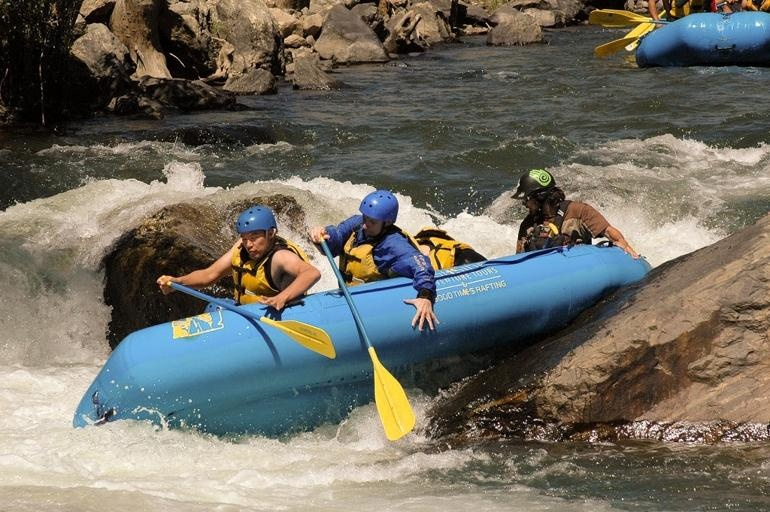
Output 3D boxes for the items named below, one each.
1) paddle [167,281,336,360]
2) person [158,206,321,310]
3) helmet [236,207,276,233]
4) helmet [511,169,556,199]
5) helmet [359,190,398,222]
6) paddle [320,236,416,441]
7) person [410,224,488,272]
[{"bbox_3d":[-1.585,0.813,13.523,3.020,0.131,0.348,14,58,7],"label":"paddle"},{"bbox_3d":[-2.014,0.055,14.466,1.348,1.299,0.937,12,27,38],"label":"person"},{"bbox_3d":[-1.600,-0.448,13.654,0.453,0.203,0.339,5,-12,-42],"label":"helmet"},{"bbox_3d":[2.035,-0.996,14.980,0.612,0.252,0.397,-8,2,-1],"label":"helmet"},{"bbox_3d":[-0.092,-0.649,14.093,0.520,0.344,0.380,-13,31,-21],"label":"helmet"},{"bbox_3d":[-0.331,0.790,13.781,0.229,3.177,0.554,4,-33,-42],"label":"paddle"},{"bbox_3d":[0.802,-0.097,14.627,0.559,0.319,0.887,-19,30,-25],"label":"person"}]
